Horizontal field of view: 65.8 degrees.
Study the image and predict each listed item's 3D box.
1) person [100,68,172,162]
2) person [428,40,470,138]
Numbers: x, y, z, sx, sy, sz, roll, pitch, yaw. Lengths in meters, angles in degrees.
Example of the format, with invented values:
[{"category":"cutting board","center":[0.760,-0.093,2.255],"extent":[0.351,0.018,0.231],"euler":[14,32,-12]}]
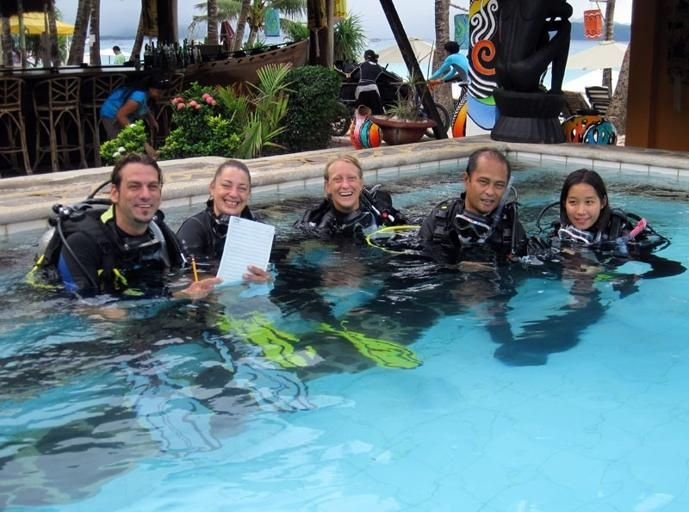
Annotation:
[{"category":"person","center":[-4.233,-2.535,10.155],"extent":[1.432,1.856,1.343],"euler":[13,20,25]},{"category":"person","center":[2.623,-4.301,13.410],"extent":[1.606,1.968,0.641],"euler":[8,31,14]}]
